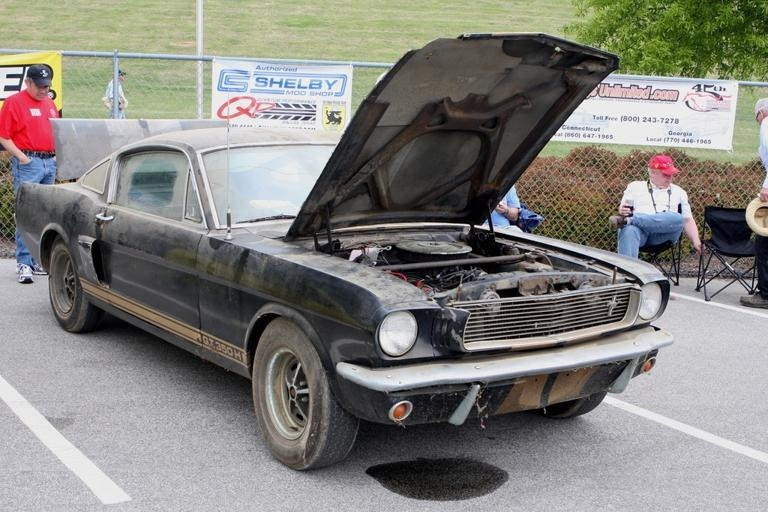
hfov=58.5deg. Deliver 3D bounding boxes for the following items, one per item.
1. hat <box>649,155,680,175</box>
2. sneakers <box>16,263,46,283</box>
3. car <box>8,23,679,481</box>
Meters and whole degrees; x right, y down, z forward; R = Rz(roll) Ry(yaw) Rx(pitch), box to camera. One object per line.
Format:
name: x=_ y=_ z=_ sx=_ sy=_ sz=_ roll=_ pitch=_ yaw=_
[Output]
hat: x=3.421 y=-1.117 z=8.538 sx=0.444 sy=0.204 sz=0.312 roll=11 pitch=16 yaw=38
sneakers: x=-4.240 y=0.210 z=8.228 sx=0.261 sy=0.268 sz=0.639 roll=0 pitch=0 yaw=-40
car: x=-0.727 y=-0.191 z=5.877 sx=2.566 sy=2.160 sz=5.156 roll=-7 pitch=15 yaw=-39
